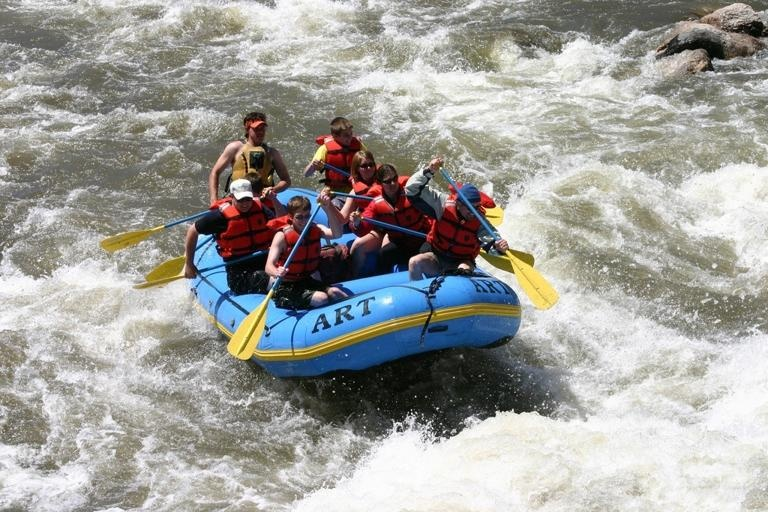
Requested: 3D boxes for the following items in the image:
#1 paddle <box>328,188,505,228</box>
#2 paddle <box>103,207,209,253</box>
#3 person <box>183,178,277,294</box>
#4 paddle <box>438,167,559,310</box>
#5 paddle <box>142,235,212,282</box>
[{"bbox_3d":[0.357,-0.920,16.412,4.118,0.180,0.735,8,75,51],"label":"paddle"},{"bbox_3d":[-3.477,-0.360,16.392,1.953,0.255,0.075,-18,25,0],"label":"paddle"},{"bbox_3d":[-2.101,-0.211,15.037,1.630,1.280,0.896,-12,27,-31],"label":"person"},{"bbox_3d":[1.650,-0.168,15.471,0.454,0.211,2.939,-17,55,-45],"label":"paddle"},{"bbox_3d":[-2.883,0.102,15.407,1.328,0.250,0.124,-23,92,2],"label":"paddle"}]
